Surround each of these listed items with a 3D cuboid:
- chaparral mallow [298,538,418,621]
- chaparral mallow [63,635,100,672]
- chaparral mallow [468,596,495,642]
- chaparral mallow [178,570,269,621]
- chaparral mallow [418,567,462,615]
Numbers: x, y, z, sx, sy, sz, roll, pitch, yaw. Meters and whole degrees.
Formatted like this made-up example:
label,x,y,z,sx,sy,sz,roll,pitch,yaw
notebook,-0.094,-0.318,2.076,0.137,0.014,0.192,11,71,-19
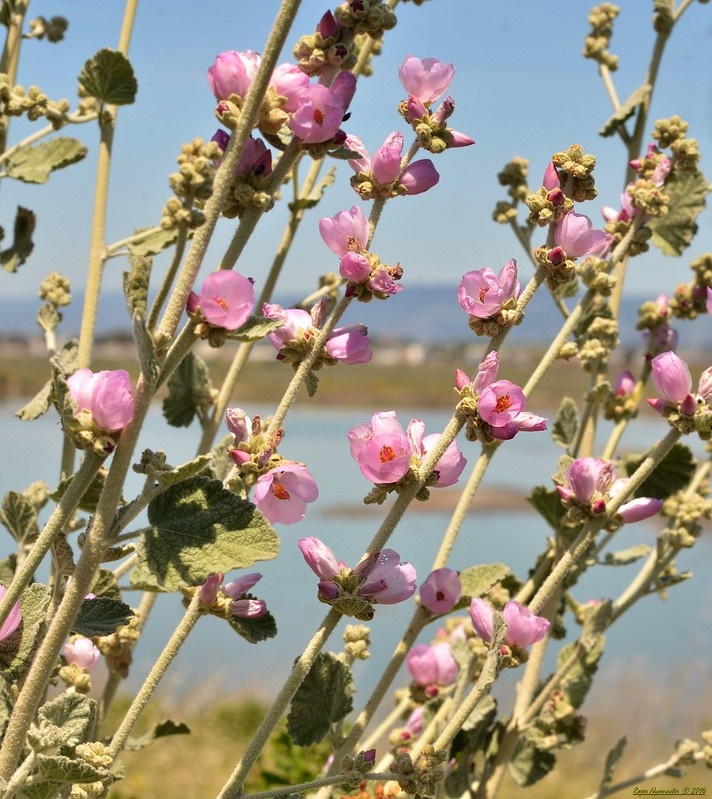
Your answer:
label,x,y,z,sx,sy,sz,roll,pitch,yaw
chaparral mallow,-0.007,0.332,3.742,0.226,0.140,0.099,17,-17,0
chaparral mallow,-0.535,0.498,4.052,0.058,0.072,0.071,-3,-16,-5
chaparral mallow,0.234,0.410,3.831,0.026,0.072,0.057,-5,0,-20
chaparral mallow,-0.233,0.359,3.805,0.086,0.103,0.156,1,-23,40
chaparral mallow,0.159,0.363,3.922,0.080,0.090,0.074,16,-17,2
